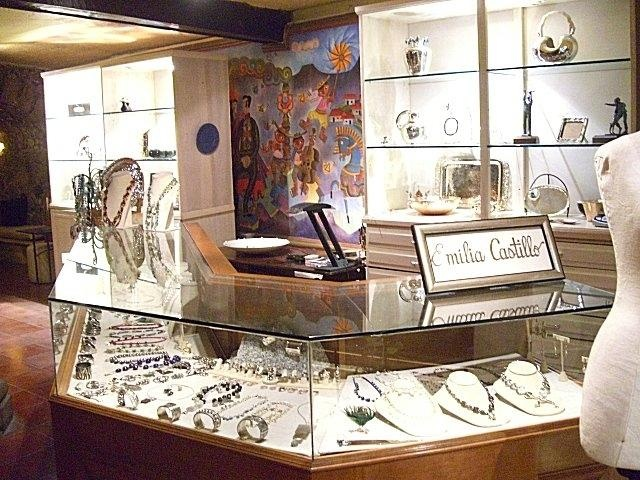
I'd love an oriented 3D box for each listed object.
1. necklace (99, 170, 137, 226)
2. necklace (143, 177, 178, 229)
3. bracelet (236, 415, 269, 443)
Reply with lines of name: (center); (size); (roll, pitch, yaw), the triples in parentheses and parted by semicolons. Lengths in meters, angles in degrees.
necklace: (-1.334, -0.276, 2.985); (0.263, 0.403, 0.149); (9, 14, 16)
necklace: (-1.040, -0.233, 2.969); (0.295, 0.420, 0.161); (9, 11, 33)
bracelet: (-0.231, 0.646, 1.570); (0.117, 0.094, 0.065); (-3, 4, 36)
